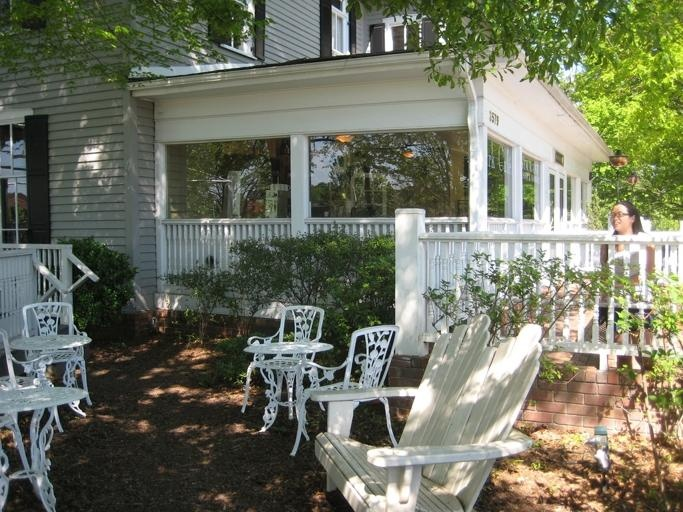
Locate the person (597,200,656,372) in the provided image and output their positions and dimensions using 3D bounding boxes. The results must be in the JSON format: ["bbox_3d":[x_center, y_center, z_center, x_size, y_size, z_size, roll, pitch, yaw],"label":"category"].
[{"bbox_3d":[3.363,0.227,7.385,0.530,1.502,2.645,2,11,24],"label":"person"}]
